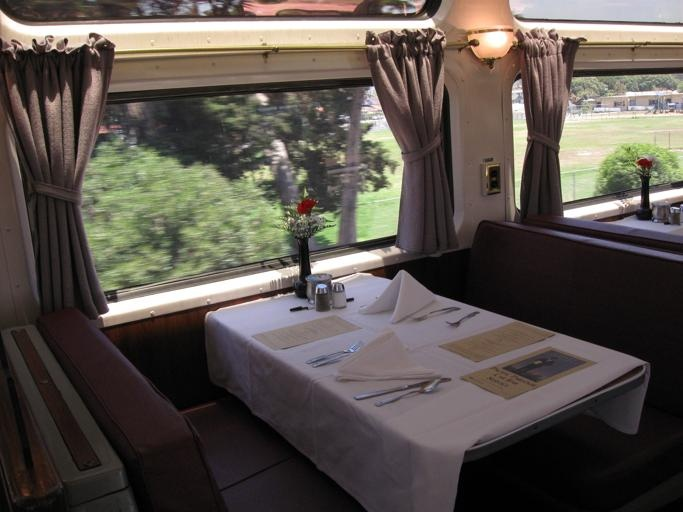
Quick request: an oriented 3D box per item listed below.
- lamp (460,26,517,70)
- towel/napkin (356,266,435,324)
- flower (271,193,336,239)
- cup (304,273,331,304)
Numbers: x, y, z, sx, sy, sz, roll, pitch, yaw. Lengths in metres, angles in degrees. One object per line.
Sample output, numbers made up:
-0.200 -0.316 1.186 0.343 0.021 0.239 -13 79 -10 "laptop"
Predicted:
1.144 -1.592 3.846 0.368 0.274 0.370 1 17 15 "lamp"
0.336 0.186 2.885 0.432 0.194 0.237 9 -18 -33 "towel/napkin"
-0.226 -0.256 3.157 0.364 0.276 0.368 5 9 -25 "flower"
-0.167 0.179 3.096 0.179 0.170 0.174 -1 11 0 "cup"
